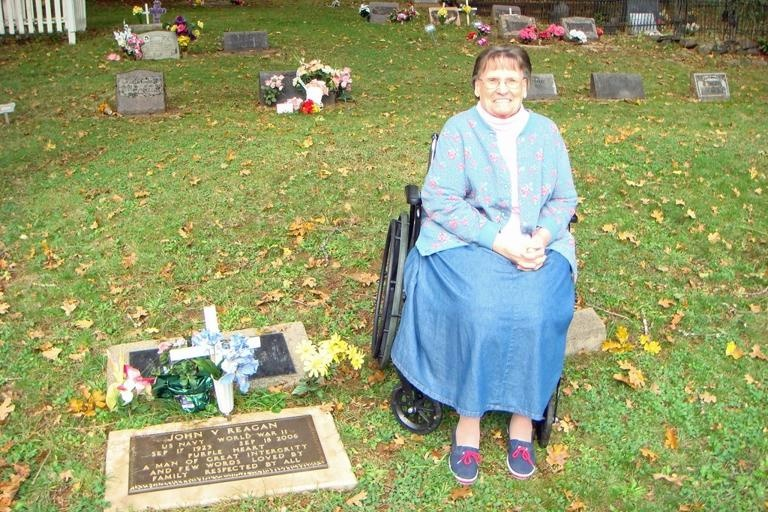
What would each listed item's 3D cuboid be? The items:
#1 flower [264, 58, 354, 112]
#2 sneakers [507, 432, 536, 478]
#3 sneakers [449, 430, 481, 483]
[{"bbox_3d":[-1.369,-2.931,10.111,1.470,0.970,0.662,-6,-13,-18],"label":"flower"},{"bbox_3d":[0.995,1.458,4.127,0.212,0.242,0.183,6,28,9],"label":"sneakers"},{"bbox_3d":[0.577,1.464,4.120,0.220,0.239,0.243,8,28,12],"label":"sneakers"}]
